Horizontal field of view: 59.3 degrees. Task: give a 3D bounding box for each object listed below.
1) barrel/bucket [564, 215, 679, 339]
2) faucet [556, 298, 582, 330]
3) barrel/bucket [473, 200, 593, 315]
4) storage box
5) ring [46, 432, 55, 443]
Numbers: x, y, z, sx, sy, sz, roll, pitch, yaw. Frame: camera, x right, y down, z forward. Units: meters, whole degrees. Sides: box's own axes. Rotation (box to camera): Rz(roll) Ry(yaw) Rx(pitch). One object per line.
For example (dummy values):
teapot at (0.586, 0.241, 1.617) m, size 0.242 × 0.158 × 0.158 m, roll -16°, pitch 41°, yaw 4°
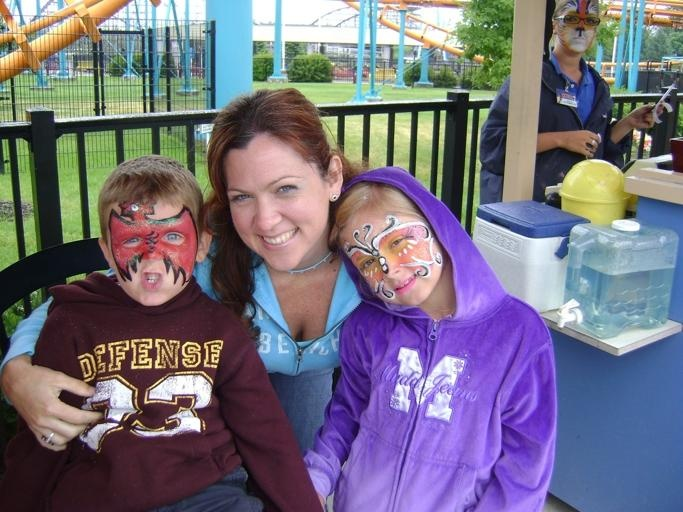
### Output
barrel/bucket at (1.240, 0.062, 2.798) m, size 0.545 × 0.641 × 0.347 m, roll -5°, pitch 14°, yaw -11°
faucet at (1.024, 0.259, 2.695) m, size 0.127 × 0.174 × 0.082 m, roll -2°, pitch 8°, yaw -20°
barrel/bucket at (0.829, -0.054, 2.907) m, size 0.414 × 0.552 × 0.589 m, roll -5°, pitch 19°, yaw -25°
storage box at (0.881, -0.017, 2.953) m, size 0.324 × 0.446 × 0.460 m, roll -7°, pitch 20°, yaw -21°
ring at (-0.966, 0.601, 1.995) m, size 0.009 × 0.033 × 0.022 m, roll 6°, pitch 1°, yaw 22°
